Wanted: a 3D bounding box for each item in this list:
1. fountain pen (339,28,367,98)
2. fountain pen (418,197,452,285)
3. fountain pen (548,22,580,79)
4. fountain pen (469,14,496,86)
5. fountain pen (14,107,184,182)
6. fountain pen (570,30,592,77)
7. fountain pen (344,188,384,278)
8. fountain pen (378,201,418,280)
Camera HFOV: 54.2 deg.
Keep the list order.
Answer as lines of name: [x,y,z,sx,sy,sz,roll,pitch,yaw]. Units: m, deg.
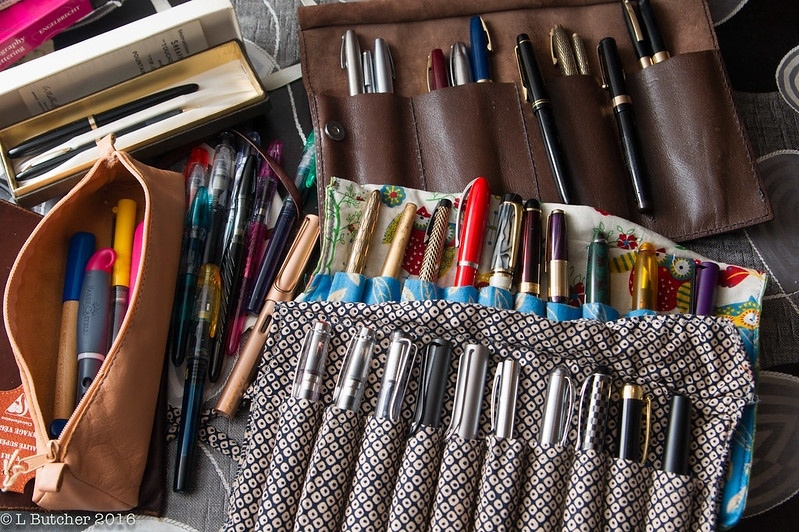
fountain pen: [-0.110,-0.450,1.786,0.043,0.037,0.168,-11,77,20]
fountain pen: [0.079,-0.054,1.570,0.035,0.032,0.216,5,46,18]
fountain pen: [0.365,-0.479,1.753,0.041,0.037,0.140,2,54,-20]
fountain pen: [0.183,-0.487,1.759,0.028,0.034,0.189,10,65,-34]
fountain pen: [-0.662,-0.260,1.683,0.265,0.039,0.039,-33,30,-20]
fountain pen: [0.403,-0.468,1.754,0.021,0.019,0.140,-16,61,14]
fountain pen: [-0.072,-0.066,1.567,0.034,0.032,0.239,15,72,9]
fountain pen: [-0.001,-0.049,1.565,0.039,0.033,0.206,17,66,10]
